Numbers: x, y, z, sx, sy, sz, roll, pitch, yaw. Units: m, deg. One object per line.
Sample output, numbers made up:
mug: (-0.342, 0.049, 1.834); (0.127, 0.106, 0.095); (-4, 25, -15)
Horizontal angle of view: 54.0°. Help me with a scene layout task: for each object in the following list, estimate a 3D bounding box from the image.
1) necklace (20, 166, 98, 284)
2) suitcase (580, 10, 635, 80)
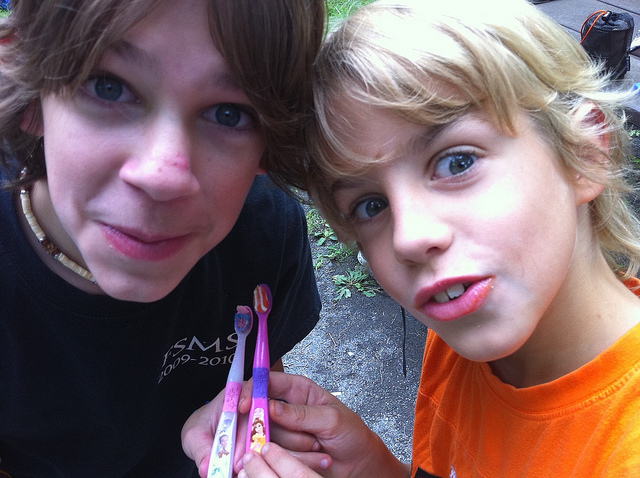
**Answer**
necklace: (-0.603, 0.003, 1.430); (0.283, 0.243, 0.016); (31, 61, 24)
suitcase: (1.650, -1.118, 3.656); (0.269, 0.382, 0.501); (8, 24, 26)
